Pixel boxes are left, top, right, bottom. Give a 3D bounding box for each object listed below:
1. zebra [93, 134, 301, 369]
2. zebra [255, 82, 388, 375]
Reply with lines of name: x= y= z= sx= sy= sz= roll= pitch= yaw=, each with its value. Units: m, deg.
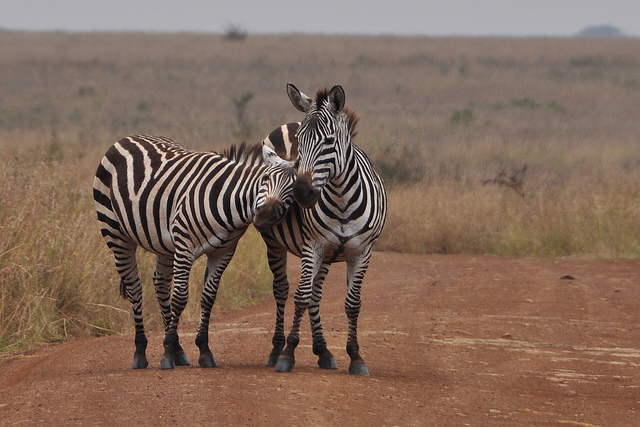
zebra: x=-1.723 y=0.549 z=12.288 sx=4.205 sy=3.192 sz=1.280 roll=3 pitch=4 yaw=45
zebra: x=-0.031 y=0.181 z=11.821 sx=1.494 sy=3.741 sz=1.252 roll=3 pitch=3 yaw=28
